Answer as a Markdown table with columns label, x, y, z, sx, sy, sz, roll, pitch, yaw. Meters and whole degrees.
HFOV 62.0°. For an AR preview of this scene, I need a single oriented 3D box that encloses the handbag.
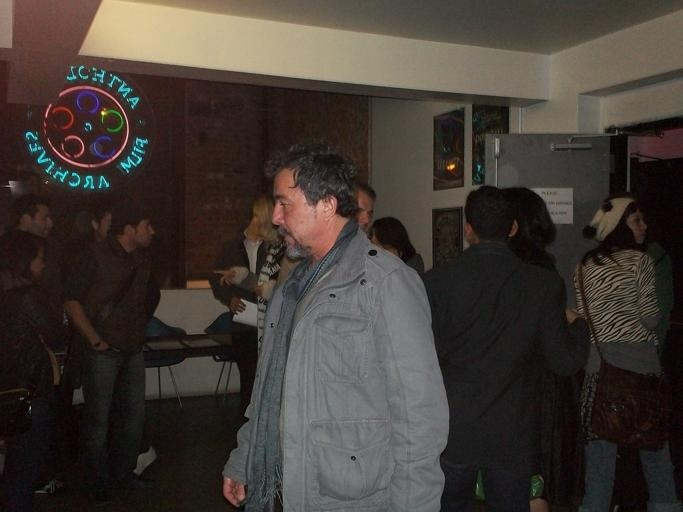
| label | x | y | z | sx | sy | sz | roll | pitch | yaw |
| --- | --- | --- | --- | --- | --- | --- | --- | --- | --- |
| handbag | 1.721 | 0.894 | 3.382 | 0.478 | 0.528 | 0.183 | 10 | 0 | 3 |
